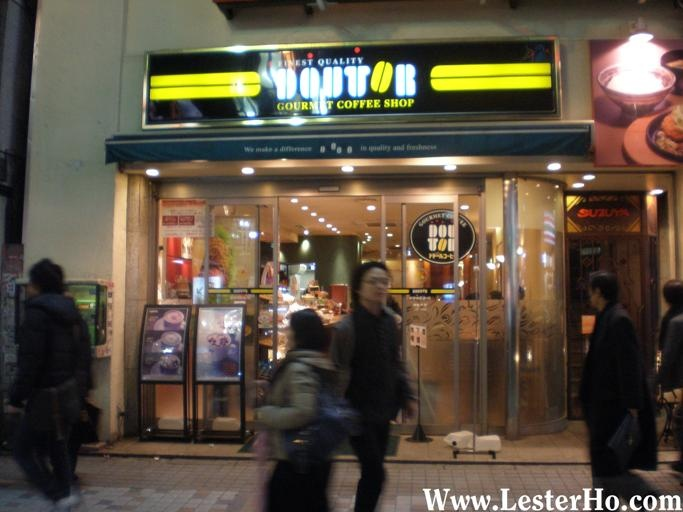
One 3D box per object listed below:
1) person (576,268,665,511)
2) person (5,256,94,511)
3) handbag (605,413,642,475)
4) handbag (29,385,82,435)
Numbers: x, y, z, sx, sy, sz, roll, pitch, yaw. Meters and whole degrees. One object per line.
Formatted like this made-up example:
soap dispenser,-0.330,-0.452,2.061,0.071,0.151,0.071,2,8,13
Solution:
person,2.490,1.334,6.327,0.637,1.680,0.423,-2,-4,23
person,-2.825,1.253,6.782,0.728,2.442,0.284,1,-4,-25
handbag,2.516,1.655,6.203,0.278,0.501,0.231,-2,-4,16
handbag,-2.704,1.460,6.638,0.507,0.440,0.378,4,-5,-3
